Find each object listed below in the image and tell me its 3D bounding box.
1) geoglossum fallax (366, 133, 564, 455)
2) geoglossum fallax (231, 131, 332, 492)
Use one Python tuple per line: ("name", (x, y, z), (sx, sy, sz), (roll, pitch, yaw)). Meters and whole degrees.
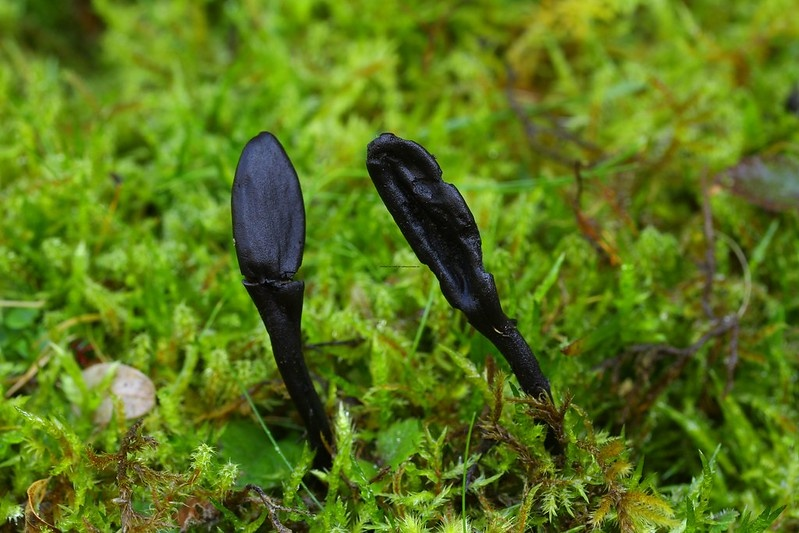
("geoglossum fallax", (0.100, 0.031, 1.701), (0.183, 0.799, 0.118), (-30, 9, -20))
("geoglossum fallax", (-0.253, 0.088, 1.666), (0.153, 0.661, 0.095), (-4, -5, -30))
